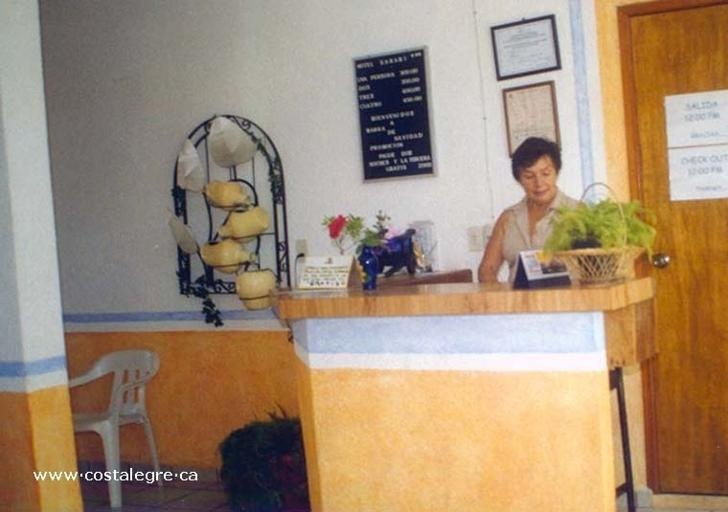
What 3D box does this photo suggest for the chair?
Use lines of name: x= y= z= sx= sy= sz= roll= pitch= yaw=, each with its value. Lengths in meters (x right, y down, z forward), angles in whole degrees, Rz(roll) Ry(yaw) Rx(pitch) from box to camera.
chair: x=-1.674 y=1.137 z=4.842 sx=0.584 sy=0.966 sz=0.688 roll=-5 pitch=0 yaw=-17

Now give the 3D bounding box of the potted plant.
potted plant: x=1.116 y=-0.027 z=3.324 sx=0.435 sy=0.378 sz=0.487 roll=10 pitch=-15 yaw=-36

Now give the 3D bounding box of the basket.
basket: x=1.093 y=-0.076 z=3.286 sx=0.510 sy=0.454 sz=0.286 roll=-5 pitch=0 yaw=12
